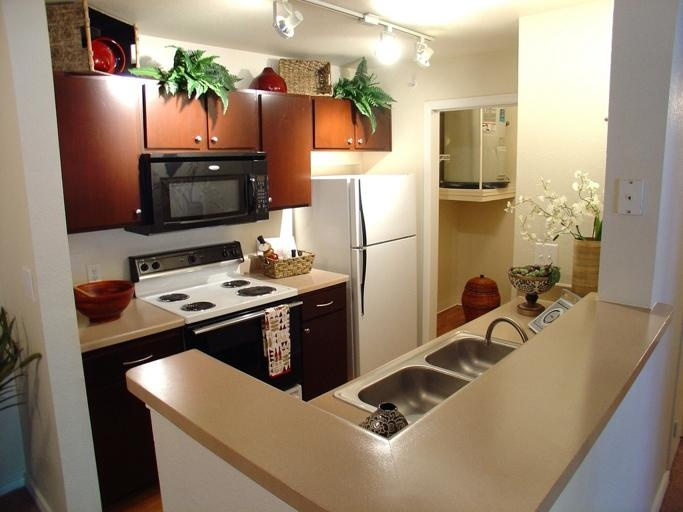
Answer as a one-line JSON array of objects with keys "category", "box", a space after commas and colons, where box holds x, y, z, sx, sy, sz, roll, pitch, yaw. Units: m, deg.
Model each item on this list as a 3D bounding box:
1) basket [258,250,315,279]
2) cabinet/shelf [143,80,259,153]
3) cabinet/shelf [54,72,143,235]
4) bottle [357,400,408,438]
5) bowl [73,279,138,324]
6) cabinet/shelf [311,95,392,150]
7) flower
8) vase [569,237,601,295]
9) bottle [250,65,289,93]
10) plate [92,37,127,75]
[{"category": "basket", "box": [-0.410, 0.032, 3.743, 0.276, 0.128, 0.203, -12, 14, -41]}, {"category": "cabinet/shelf", "box": [-0.925, -0.891, 3.150, 0.179, 0.279, 0.514, 7, 11, 39]}, {"category": "cabinet/shelf", "box": [-1.466, -0.610, 2.950, 0.464, 0.865, 0.434, -2, 14, -33]}, {"category": "bottle", "box": [0.149, 0.560, 1.682, 0.131, 0.056, 0.104, -11, 17, -36]}, {"category": "bowl", "box": [-1.398, 0.262, 2.924, 0.309, 0.183, 0.376, -8, 15, -28]}, {"category": "cabinet/shelf", "box": [0.116, -1.107, 4.192, 0.113, 0.445, 0.998, 9, 17, 38]}, {"category": "flower", "box": [1.346, -0.274, 3.140, 0.497, 0.547, 0.438, 2, 9, 11]}, {"category": "vase", "box": [1.426, 0.068, 2.881, 0.154, 0.330, 0.107, 9, 16, 38]}, {"category": "bottle", "box": [-0.523, -1.254, 3.622, 0.218, 0.201, 0.231, -1, 15, 10]}, {"category": "plate", "box": [-1.381, -1.148, 2.925, 0.186, 0.224, 0.145, -6, 13, -37]}]
